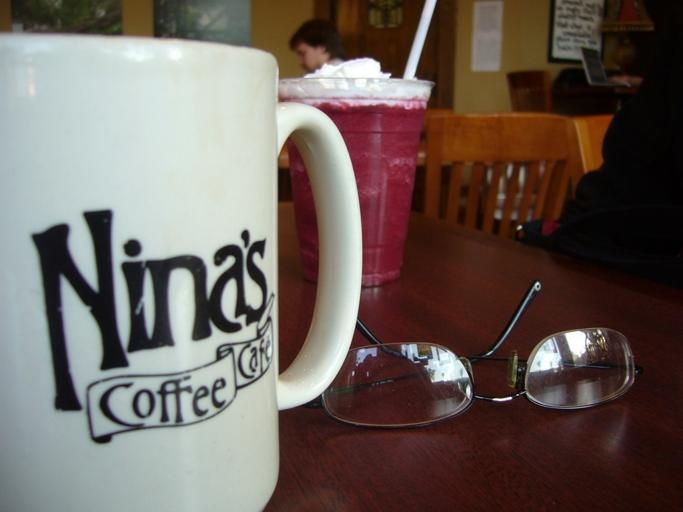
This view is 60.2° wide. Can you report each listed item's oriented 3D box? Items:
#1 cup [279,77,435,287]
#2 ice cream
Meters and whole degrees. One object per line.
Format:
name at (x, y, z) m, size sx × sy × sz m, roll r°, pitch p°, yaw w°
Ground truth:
cup at (0.014, -0.060, 0.600) m, size 0.157 × 0.222 × 0.163 m, roll 0°, pitch 5°, yaw 0°
ice cream at (0.031, -0.081, 0.600) m, size 0.159 × 0.228 × 0.162 m, roll -1°, pitch 5°, yaw -4°
